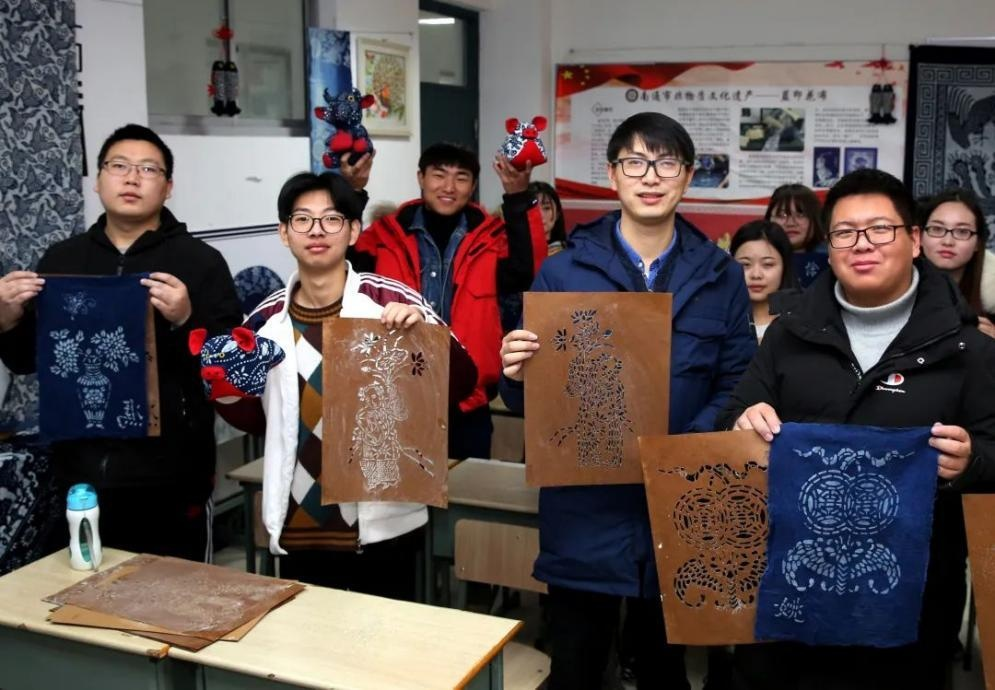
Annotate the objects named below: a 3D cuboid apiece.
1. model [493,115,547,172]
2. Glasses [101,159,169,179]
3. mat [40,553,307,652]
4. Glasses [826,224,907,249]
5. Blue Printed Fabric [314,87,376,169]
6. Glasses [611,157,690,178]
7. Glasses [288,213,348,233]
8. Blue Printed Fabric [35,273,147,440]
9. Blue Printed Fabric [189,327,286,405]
[{"bbox_3d":[0.134,-0.840,3.482,0.208,0.211,0.241,-2,1,-18],"label":"model"},{"bbox_3d":[-1.200,-0.587,2.758,0.185,0.056,0.065,-4,8,-27],"label":"Glasses"},{"bbox_3d":[-0.911,0.720,2.285,0.606,0.041,0.524,8,13,20],"label":"mat"},{"bbox_3d":[0.980,-0.289,2.212,0.176,0.066,0.052,3,7,24],"label":"Glasses"},{"bbox_3d":[-0.705,-1.018,3.856,0.273,0.397,0.187,-10,22,-42],"label":"Blue Printed Fabric"},{"bbox_3d":[0.439,-0.516,2.410,0.192,0.064,0.032,1,7,10],"label":"Glasses"},{"bbox_3d":[-0.555,-0.379,2.586,0.166,0.058,0.049,-2,7,-14],"label":"Glasses"},{"bbox_3d":[-1.284,0.021,2.652,0.547,0.679,0.092,0,5,3],"label":"Blue Printed Fabric"},{"bbox_3d":[-0.778,0.063,2.539,0.261,0.246,0.189,-1,7,-4],"label":"Blue Printed Fabric"}]
